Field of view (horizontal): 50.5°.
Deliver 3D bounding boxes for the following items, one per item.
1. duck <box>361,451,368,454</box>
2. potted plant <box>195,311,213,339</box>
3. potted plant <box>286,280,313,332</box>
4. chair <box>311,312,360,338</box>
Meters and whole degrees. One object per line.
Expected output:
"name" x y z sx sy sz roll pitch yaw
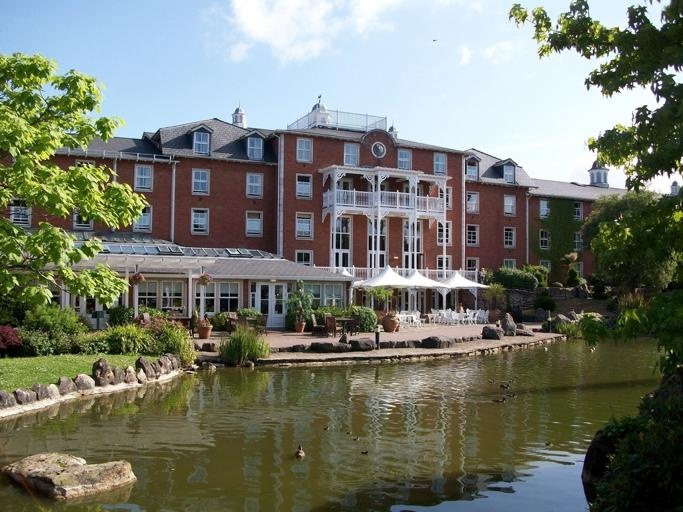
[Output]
"duck" 0.437 3.716 13.631 0.121 0.039 0.187 -1 -7 -2
"potted plant" -5.786 2.952 29.800 0.834 0.967 0.891 0 -11 -1
"potted plant" -2.122 2.450 35.987 1.223 2.638 2.638 0 -6 -13
"chair" -0.185 3.064 31.678 1.300 0.687 1.339 1 1 3
